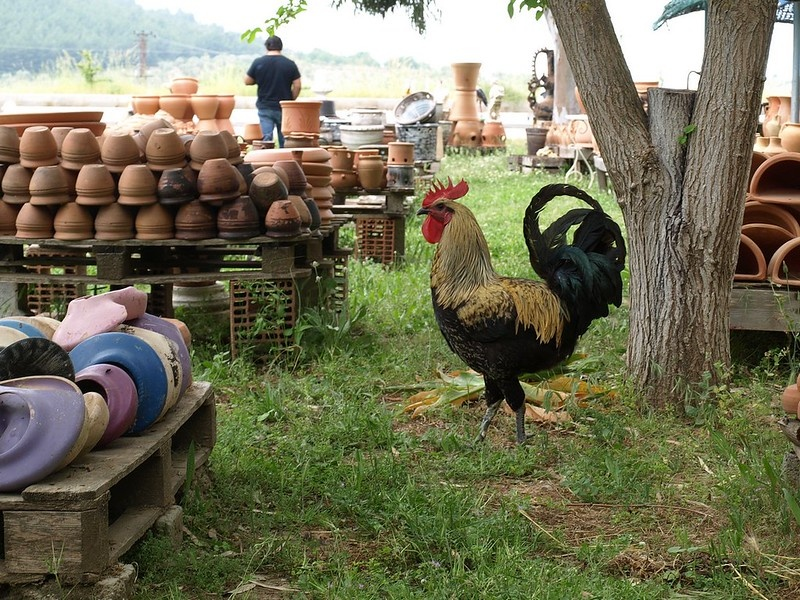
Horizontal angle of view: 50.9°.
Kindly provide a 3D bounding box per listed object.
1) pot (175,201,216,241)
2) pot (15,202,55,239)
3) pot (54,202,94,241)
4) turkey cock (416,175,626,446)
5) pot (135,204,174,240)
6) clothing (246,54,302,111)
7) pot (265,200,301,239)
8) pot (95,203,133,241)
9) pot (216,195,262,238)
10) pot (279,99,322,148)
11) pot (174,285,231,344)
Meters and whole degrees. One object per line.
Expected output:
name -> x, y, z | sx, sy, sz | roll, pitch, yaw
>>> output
pot -> -1.322, -0.516, 5.474 | 0.261, 0.213, 0.256 | -1, 6, 0
pot -> -2.401, -0.513, 5.501 | 0.241, 0.212, 0.235 | -1, 3, 0
pot -> -2.148, -0.513, 5.469 | 0.250, 0.220, 0.248 | -1, 5, 0
turkey cock -> 0.716, 0.055, 4.868 | 1.070, 1.477, 0.602 | -3, 8, -26
pot -> -1.593, -0.508, 5.474 | 0.238, 0.213, 0.232 | -1, 6, 0
clothing -> -1.647, -2.865, 11.330 | 0.820, 0.745, 0.463 | 3, -9, 19
pot -> -0.774, -0.528, 5.540 | 0.247, 0.219, 0.244 | -2, 7, 0
pot -> -1.912, -0.535, 5.568 | 0.269, 0.225, 0.268 | 5, 14, -1
pot -> -1.062, -0.543, 5.500 | 0.277, 0.246, 0.272 | -2, 4, 0
pot -> -0.944, -1.645, 7.955 | 0.416, 0.446, 0.421 | 1, 9, 0
pot -> -1.524, 0.089, 6.364 | 0.466, 0.412, 0.451 | -2, 3, 0
